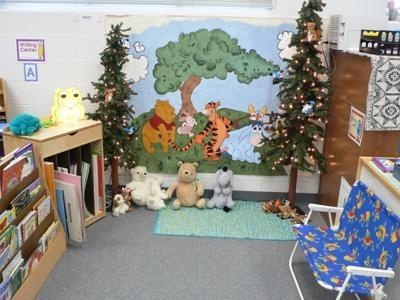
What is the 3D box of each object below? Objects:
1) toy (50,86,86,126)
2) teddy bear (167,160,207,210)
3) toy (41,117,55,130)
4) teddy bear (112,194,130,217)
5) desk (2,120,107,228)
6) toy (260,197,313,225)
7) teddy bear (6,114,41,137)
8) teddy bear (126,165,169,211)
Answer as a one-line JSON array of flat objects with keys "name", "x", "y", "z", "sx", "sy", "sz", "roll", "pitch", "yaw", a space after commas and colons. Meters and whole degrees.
[{"name": "toy", "x": -1.322, "y": -0.444, "z": 2.973, "sx": 0.407, "sy": 0.407, "sz": 0.139, "roll": -9, "pitch": 21, "yaw": -38}, {"name": "teddy bear", "x": -0.151, "y": 0.414, "z": 3.433, "sx": 0.424, "sy": 0.543, "sz": 0.322, "roll": 2, "pitch": 6, "yaw": 1}, {"name": "toy", "x": -1.473, "y": -0.251, "z": 2.871, "sx": 0.115, "sy": 0.042, "sz": 0.158, "roll": -4, "pitch": 30, "yaw": -8}, {"name": "teddy bear", "x": -0.853, "y": 0.592, "z": 3.322, "sx": 0.171, "sy": 0.259, "sz": 0.274, "roll": 0, "pitch": 6, "yaw": 13}, {"name": "desk", "x": -1.267, "y": 0.183, "z": 2.545, "sx": 0.330, "sy": 0.942, "sz": 0.802, "roll": 6, "pitch": 18, "yaw": 17}, {"name": "toy", "x": 0.948, "y": 0.679, "z": 3.301, "sx": 0.318, "sy": 0.142, "sz": 0.247, "roll": 15, "pitch": 0, "yaw": 23}, {"name": "teddy bear", "x": -1.511, "y": -0.219, "z": 2.551, "sx": 0.192, "sy": 0.145, "sz": 0.206, "roll": -2, "pitch": 13, "yaw": -35}, {"name": "teddy bear", "x": -0.627, "y": 0.453, "z": 3.437, "sx": 0.464, "sy": 0.488, "sz": 0.396, "roll": 14, "pitch": 15, "yaw": 32}]
